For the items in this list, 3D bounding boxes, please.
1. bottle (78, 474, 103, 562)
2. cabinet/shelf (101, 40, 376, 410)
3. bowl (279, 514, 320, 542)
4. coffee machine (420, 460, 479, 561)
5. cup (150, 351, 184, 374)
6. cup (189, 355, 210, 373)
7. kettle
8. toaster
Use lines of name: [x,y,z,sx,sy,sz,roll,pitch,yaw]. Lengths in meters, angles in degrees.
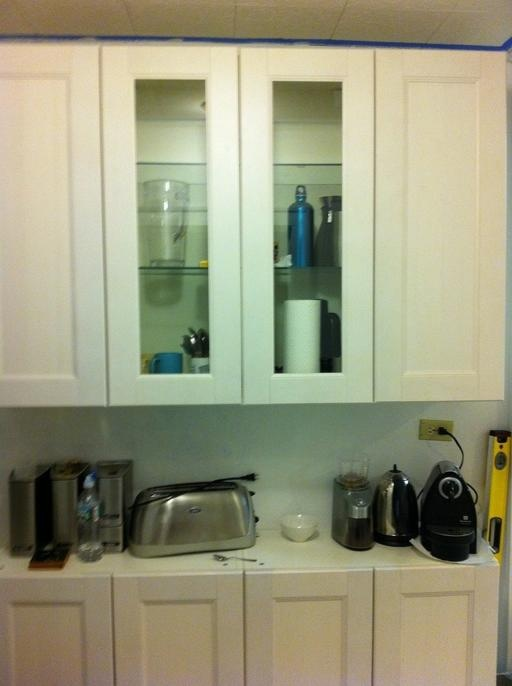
bottle: [-0.429,0.448,1.767,0.064,0.201,0.108,-4,4,-15]
cabinet/shelf: [0.003,-0.271,1.776,0.733,0.840,0.275,1,6,21]
bowl: [0.122,0.515,1.908,0.106,0.052,0.138,-2,4,2]
coffee machine: [0.521,0.447,1.876,0.155,0.212,0.324,1,4,13]
cup: [-0.216,0.050,1.665,0.076,0.046,0.045,-1,1,-14]
cup: [-0.135,0.051,1.667,0.043,0.037,0.041,0,5,0]
kettle: [0.374,0.440,1.866,0.113,0.197,0.108,0,5,34]
toaster: [-0.164,0.473,1.856,0.331,0.149,0.150,-3,5,-5]
